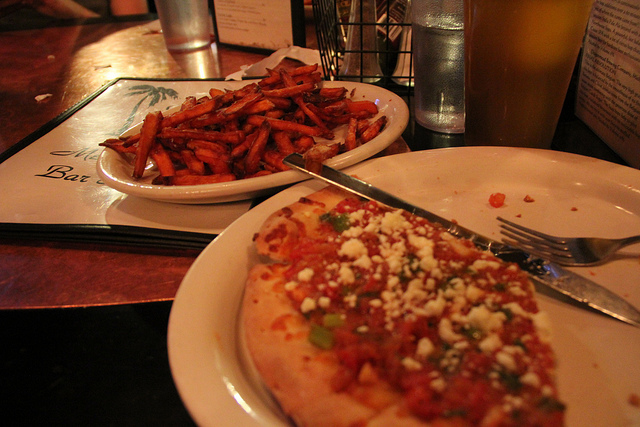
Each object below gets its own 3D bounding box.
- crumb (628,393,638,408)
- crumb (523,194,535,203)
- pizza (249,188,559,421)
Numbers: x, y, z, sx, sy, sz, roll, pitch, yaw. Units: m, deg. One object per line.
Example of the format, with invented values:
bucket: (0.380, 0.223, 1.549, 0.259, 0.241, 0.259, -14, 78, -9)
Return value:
crumb: (0.633, 0.377, 0.951, 0.016, 0.008, 0.023, 5, 46, 10)
crumb: (0.556, -0.039, 1.252, 0.019, 0.007, 0.019, 1, 41, 3)
pizza: (0.159, 0.175, 1.079, 0.651, 0.151, 0.571, 3, 46, 7)
